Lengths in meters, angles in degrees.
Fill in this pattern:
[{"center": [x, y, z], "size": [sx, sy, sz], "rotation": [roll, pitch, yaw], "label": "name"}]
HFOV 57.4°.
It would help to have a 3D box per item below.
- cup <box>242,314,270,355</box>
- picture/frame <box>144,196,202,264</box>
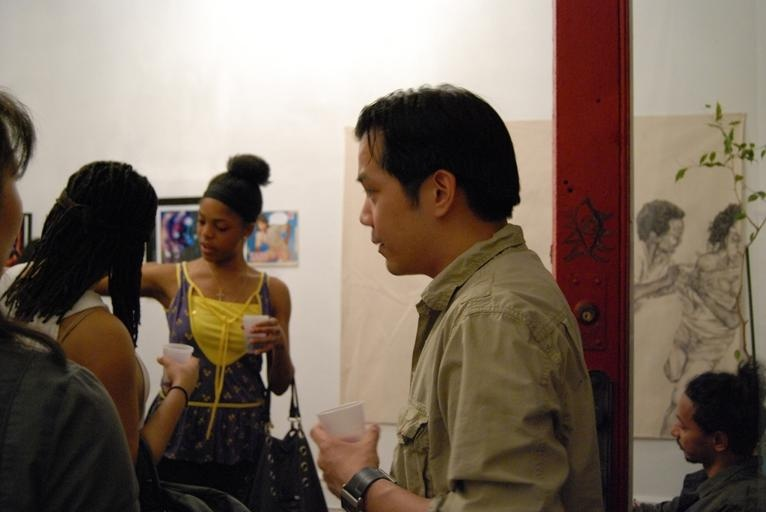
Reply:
[{"center": [-0.760, 0.470, 4.189], "size": [0.133, 0.226, 0.153], "rotation": [3, -3, 10], "label": "cup"}, {"center": [-1.459, -0.156, 4.880], "size": [0.444, 0.489, 0.031], "rotation": [2, -10, -2], "label": "picture/frame"}]
